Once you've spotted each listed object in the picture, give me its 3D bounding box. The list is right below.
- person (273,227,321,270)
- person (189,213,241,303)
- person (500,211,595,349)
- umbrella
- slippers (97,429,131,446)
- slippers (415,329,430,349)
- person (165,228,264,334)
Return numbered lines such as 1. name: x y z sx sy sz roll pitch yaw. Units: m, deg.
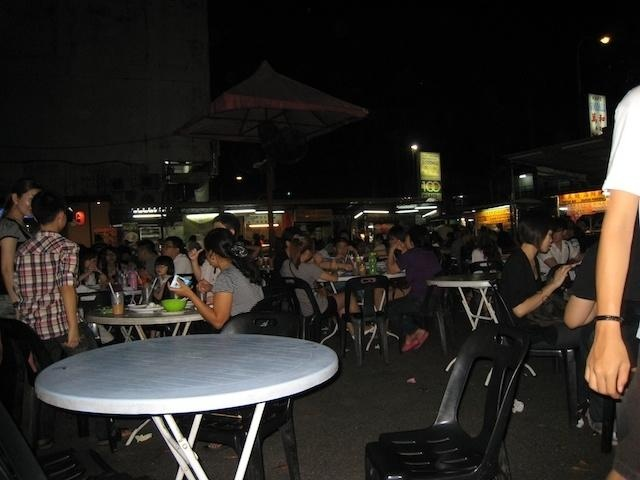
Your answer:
1. person: -0.442 0.090 8.422 0.595 0.873 0.772 -4 7 -31
2. person: -1.436 0.459 6.846 0.615 0.565 1.959 1 -30 -15
3. person: 2.208 0.535 4.832 0.868 1.552 0.672 -2 9 27
4. umbrella: -0.574 -1.403 8.562 2.815 2.934 3.219 -4 5 -18
5. slippers: -1.866 1.764 4.547 0.234 0.129 0.132 3 -7 -16
6. slippers: 1.374 1.393 7.054 0.134 0.386 0.144 43 53 19
7. person: -1.010 0.572 4.941 0.800 1.328 0.810 4 22 -12
